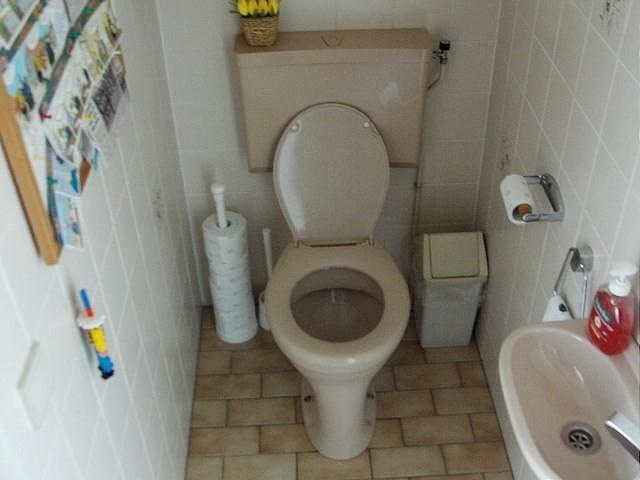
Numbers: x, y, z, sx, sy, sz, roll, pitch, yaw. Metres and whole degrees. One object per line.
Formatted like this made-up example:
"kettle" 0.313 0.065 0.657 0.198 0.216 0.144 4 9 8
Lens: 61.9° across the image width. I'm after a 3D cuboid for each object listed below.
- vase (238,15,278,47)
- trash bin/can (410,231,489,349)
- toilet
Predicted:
"vase" -0.207 -0.724 1.807 0.099 0.080 0.104 -31 61 -20
"trash bin/can" 0.536 0.204 2.336 0.236 0.486 0.254 1 38 -4
"toilet" 0.062 0.065 1.966 0.553 1.408 1.028 -1 33 1
